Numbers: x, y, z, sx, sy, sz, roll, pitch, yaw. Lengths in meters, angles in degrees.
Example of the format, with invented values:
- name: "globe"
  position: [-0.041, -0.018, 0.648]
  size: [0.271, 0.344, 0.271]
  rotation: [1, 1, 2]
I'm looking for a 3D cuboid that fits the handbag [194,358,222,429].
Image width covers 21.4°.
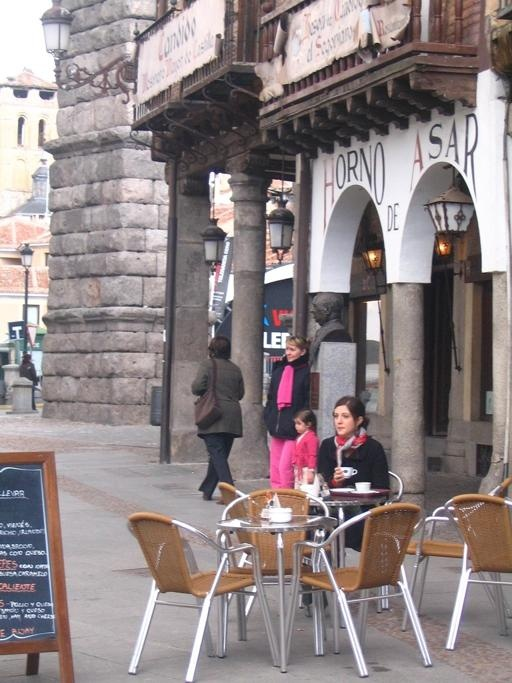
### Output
- name: "handbag"
  position: [-0.458, 0.504, 13.086]
  size: [0.163, 0.328, 0.621]
  rotation: [14, 38, -15]

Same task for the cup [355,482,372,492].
- name: "cup"
  position: [0.637, 0.850, 7.990]
  size: [0.061, 0.046, 0.063]
  rotation: [0, -9, 0]

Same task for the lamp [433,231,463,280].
- name: "lamp"
  position: [2.266, -1.013, 15.820]
  size: [0.384, 0.555, 0.389]
  rotation: [2, -12, -16]

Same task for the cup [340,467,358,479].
- name: "cup"
  position: [0.569, 0.795, 8.258]
  size: [0.077, 0.053, 0.067]
  rotation: [4, -10, -9]

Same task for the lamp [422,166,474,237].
- name: "lamp"
  position: [1.578, -1.118, 11.118]
  size: [0.365, 0.733, 0.458]
  rotation: [1, 0, -13]
